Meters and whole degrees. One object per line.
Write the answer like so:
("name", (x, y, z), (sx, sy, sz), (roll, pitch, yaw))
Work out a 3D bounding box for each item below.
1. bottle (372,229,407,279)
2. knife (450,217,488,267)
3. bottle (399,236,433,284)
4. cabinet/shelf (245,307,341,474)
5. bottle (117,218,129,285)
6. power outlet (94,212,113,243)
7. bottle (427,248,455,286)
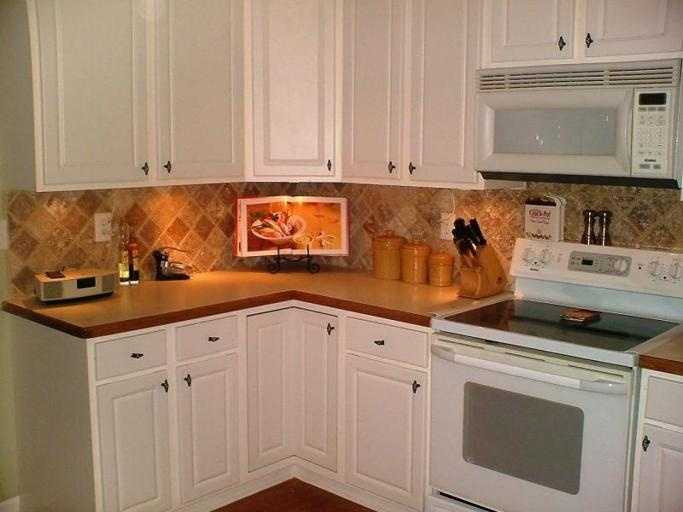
("bottle", (0.290, -0.016, 3.256), (0.238, 0.269, 0.238), (-1, 13, -4))
("knife", (0.663, -0.086, 2.754), (0.160, 0.219, 0.066), (-26, 10, 41))
("bottle", (0.428, 0.041, 3.127), (0.177, 0.263, 0.186), (2, 11, 0))
("cabinet/shelf", (-0.271, 0.747, 2.920), (0.552, 0.798, 0.299), (0, -2, -2))
("bottle", (-1.206, -0.014, 2.997), (0.077, 0.327, 0.060), (-5, 8, -22))
("power outlet", (-1.291, -0.158, 2.927), (0.021, 0.157, 0.096), (4, 10, 40))
("bottle", (0.547, 0.065, 2.986), (0.179, 0.194, 0.173), (0, 4, -5))
